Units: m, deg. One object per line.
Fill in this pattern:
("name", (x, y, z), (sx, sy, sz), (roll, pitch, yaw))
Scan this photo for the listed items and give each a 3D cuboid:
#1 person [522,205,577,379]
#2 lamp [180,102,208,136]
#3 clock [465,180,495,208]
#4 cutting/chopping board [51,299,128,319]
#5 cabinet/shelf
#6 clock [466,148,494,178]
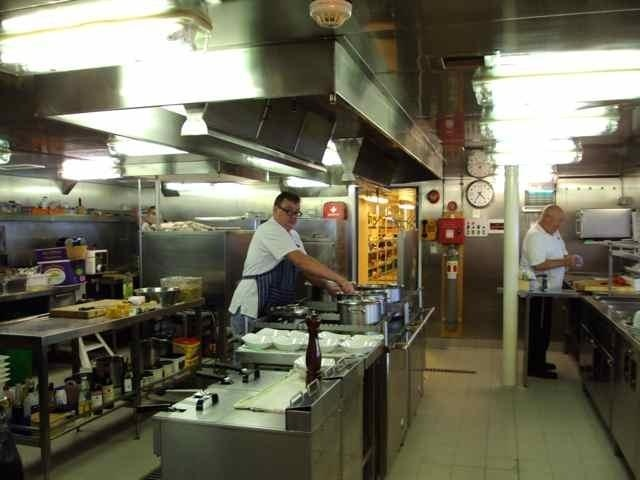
("person", (2.563, 0.591, 6.405), (0.616, 1.941, 0.862), (2, 6, 19))
("lamp", (-0.769, -0.742, 3.525), (0.178, 0.247, 0.196), (1, 1, -6))
("clock", (2.214, -0.631, 7.836), (0.401, 0.384, 0.092), (1, 2, 14))
("cutting/chopping board", (-1.928, 0.579, 4.763), (0.288, 0.039, 0.390), (2, 2, 11))
("cabinet/shelf", (1.078, -0.040, 9.496), (0.739, 1.819, 2.016), (0, -1, 17))
("clock", (2.188, -1.032, 7.761), (0.400, 0.395, 0.195), (2, 6, 19))
